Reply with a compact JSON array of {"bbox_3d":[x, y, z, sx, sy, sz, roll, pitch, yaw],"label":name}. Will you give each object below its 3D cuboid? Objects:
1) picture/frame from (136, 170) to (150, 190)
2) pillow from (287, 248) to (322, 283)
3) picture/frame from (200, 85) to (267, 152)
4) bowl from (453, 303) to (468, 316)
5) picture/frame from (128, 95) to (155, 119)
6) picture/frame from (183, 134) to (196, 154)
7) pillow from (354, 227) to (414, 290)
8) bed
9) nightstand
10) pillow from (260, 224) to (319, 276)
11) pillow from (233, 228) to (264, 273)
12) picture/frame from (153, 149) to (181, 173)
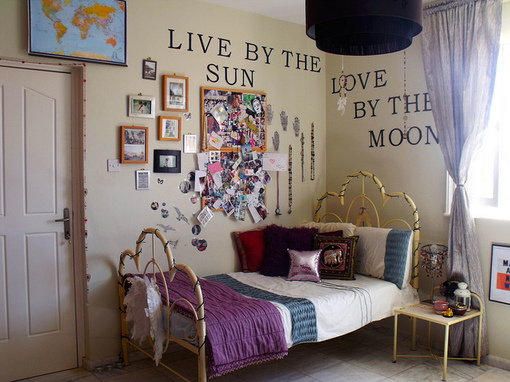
[{"bbox_3d":[-1.048,-0.105,3.683,0.164,0.250,0.023,0,-1,-31],"label":"picture/frame"},{"bbox_3d":[0.482,0.716,3.774,0.234,0.244,0.092,1,-29,7],"label":"pillow"},{"bbox_3d":[-0.252,-0.751,4.101,0.643,0.592,0.066,-4,6,-31],"label":"picture/frame"},{"bbox_3d":[1.766,1.010,3.401,0.162,0.096,0.060,-2,6,-21],"label":"bowl"},{"bbox_3d":[-1.058,-0.778,3.660,0.206,0.190,0.015,0,1,-29],"label":"picture/frame"},{"bbox_3d":[-0.646,-0.462,3.887,0.172,0.252,0.027,1,3,-34],"label":"picture/frame"},{"bbox_3d":[1.207,0.618,3.951,0.261,0.534,0.693,-2,2,-34],"label":"pillow"},{"bbox_3d":[0.232,0.650,3.822,2.302,1.676,1.492,-2,1,-33],"label":"bed"},{"bbox_3d":[1.594,1.174,3.570,0.720,0.961,0.657,0,1,-42],"label":"nightstand"},{"bbox_3d":[0.347,0.603,3.925,0.371,0.404,0.143,4,-21,18],"label":"pillow"},{"bbox_3d":[-0.065,0.620,4.085,0.367,0.515,0.246,-3,-2,-15],"label":"pillow"},{"bbox_3d":[-0.848,-0.286,3.775,0.206,0.203,0.020,0,0,-30],"label":"picture/frame"}]
